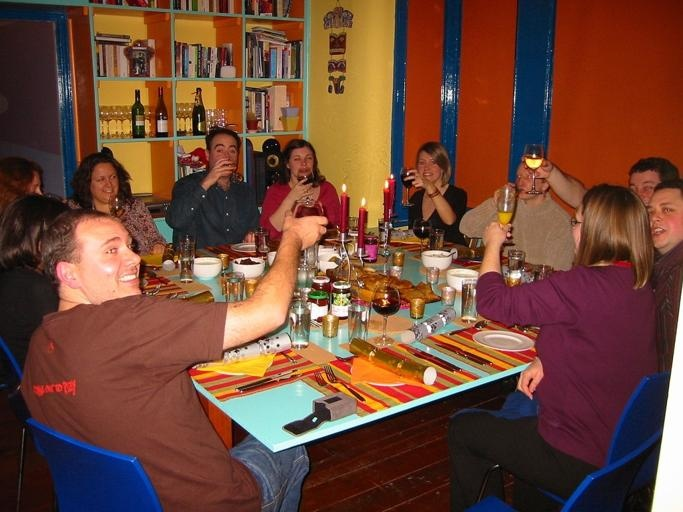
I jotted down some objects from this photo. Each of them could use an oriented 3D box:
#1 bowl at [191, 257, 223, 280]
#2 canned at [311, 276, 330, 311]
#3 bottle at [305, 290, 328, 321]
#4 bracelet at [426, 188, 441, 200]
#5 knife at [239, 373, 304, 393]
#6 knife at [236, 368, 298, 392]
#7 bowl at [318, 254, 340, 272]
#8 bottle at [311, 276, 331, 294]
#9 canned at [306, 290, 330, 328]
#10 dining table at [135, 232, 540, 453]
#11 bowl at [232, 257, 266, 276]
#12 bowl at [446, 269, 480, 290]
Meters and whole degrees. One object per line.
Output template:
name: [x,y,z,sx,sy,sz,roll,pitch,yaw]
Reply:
bowl: [-0.692,0.051,2.679,0.110,0.070,0.117,-1,20,0]
canned: [-0.082,0.161,2.189,0.102,0.188,0.109,1,1,-4]
bottle: [-0.096,0.201,2.169,0.101,0.120,0.106,0,5,-1]
bracelet: [0.653,-0.437,3.690,0.082,0.071,0.169,1,9,9]
knife: [-0.245,0.421,1.751,0.180,0.028,0.064,-10,9,-30]
knife: [-0.255,0.418,1.762,0.123,0.022,0.021,-13,22,-26]
bowl: [-0.065,0.034,2.717,0.075,0.064,0.089,1,7,5]
bottle: [-0.087,0.113,2.217,0.064,0.066,0.065,9,11,40]
canned: [-0.096,0.220,2.168,0.109,0.182,0.116,1,4,4]
dining table: [-0.002,0.324,2.001,0.937,0.241,0.616,-12,32,-26]
bowl: [-0.475,0.050,2.662,0.110,0.054,0.110,1,6,0]
bowl: [0.577,0.100,2.572,0.112,0.058,0.110,0,13,0]
